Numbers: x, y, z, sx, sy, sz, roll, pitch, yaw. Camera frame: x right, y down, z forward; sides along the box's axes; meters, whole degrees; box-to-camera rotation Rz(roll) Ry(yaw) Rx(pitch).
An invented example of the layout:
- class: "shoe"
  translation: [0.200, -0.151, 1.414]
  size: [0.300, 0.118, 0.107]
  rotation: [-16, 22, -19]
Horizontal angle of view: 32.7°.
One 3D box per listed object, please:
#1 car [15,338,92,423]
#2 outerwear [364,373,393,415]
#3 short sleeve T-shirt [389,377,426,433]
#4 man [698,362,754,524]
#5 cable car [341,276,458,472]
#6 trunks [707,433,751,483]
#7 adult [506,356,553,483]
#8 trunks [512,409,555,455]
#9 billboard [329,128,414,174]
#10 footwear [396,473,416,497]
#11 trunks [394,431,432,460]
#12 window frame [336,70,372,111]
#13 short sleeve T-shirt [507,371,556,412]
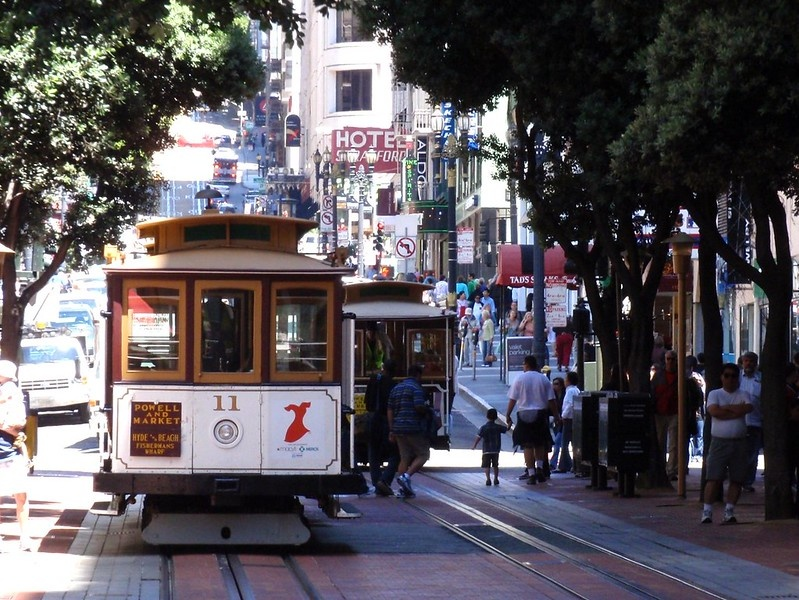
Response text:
- class: "car"
  translation: [-8.919, 1.839, 34.514]
  size: [2.112, 1.973, 3.727]
  rotation: [-1, -7, -6]
- class: "outerwear"
  translation: [-0.340, 1.623, 23.368]
  size: [0.656, 0.709, 0.404]
  rotation: [6, 13, -1]
- class: "short sleeve T-shirt"
  translation: [0.162, 1.785, 22.522]
  size: [0.745, 0.928, 0.515]
  rotation: [-9, -14, 35]
- class: "man"
  translation: [4.654, 2.012, 19.164]
  size: [0.692, 2.228, 0.611]
  rotation: [0, -11, 12]
- class: "cable car"
  translation: [-0.403, 1.396, 28.226]
  size: [3.199, 3.467, 3.447]
  rotation: [-2, -1, -10]
- class: "trunks"
  translation: [4.655, 2.105, 19.134]
  size: [0.578, 0.764, 0.423]
  rotation: [6, 34, 8]
- class: "adult"
  translation: [2.423, 2.160, 24.597]
  size: [0.845, 2.347, 0.779]
  rotation: [2, -8, -17]
- class: "trunks"
  translation: [2.382, 2.222, 24.457]
  size: [0.677, 0.687, 0.406]
  rotation: [7, 19, 20]
- class: "billboard"
  translation: [-1.349, -8.016, 73.364]
  size: [5.215, 3.035, 0.690]
  rotation: [1, -3, -2]
- class: "footwear"
  translation: [0.109, 2.976, 21.917]
  size: [0.274, 0.364, 0.440]
  rotation: [-2, -2, -1]
- class: "trunks"
  translation: [0.252, 2.377, 22.412]
  size: [0.658, 0.661, 0.392]
  rotation: [-3, 5, 19]
- class: "window frame"
  translation: [-2.895, -13.657, 88.597]
  size: [2.480, 2.635, 0.124]
  rotation: [4, 10, 32]
- class: "short sleeve T-shirt"
  translation: [2.412, 1.639, 24.610]
  size: [0.880, 0.775, 0.500]
  rotation: [-2, 11, 8]
